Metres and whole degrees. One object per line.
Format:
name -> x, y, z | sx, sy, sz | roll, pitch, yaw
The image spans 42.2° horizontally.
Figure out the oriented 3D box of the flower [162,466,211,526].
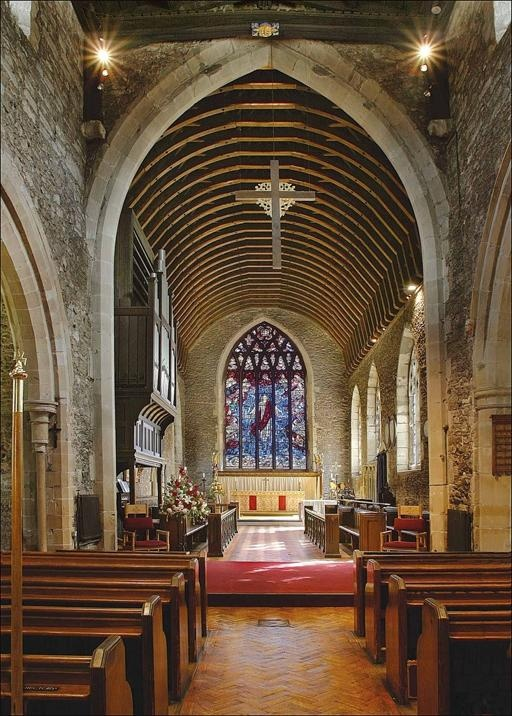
flower -> -1.237, 2.192, 10.410 | 0.890, 0.843, 1.188 | 3, -10, 9
